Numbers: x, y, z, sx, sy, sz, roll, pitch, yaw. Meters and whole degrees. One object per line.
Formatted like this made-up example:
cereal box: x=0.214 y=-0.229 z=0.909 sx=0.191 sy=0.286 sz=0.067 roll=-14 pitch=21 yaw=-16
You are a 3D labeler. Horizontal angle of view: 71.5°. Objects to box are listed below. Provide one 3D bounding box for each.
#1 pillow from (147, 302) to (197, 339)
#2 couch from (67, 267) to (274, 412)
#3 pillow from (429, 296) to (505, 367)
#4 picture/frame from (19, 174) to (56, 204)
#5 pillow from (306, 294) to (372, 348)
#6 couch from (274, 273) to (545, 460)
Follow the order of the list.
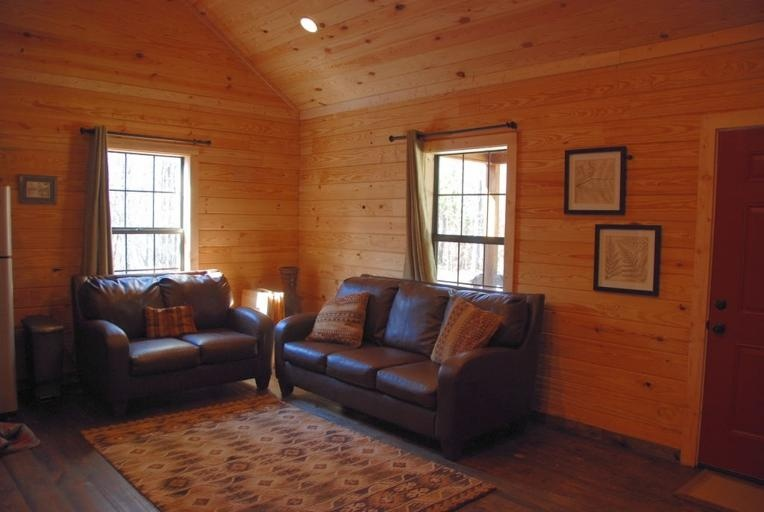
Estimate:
pillow: x=-2.030 y=0.654 z=5.192 sx=0.575 sy=0.265 sz=0.149 roll=-3 pitch=-5 yaw=-40
couch: x=-2.062 y=0.757 z=5.271 sx=1.577 sy=0.914 sz=1.080 roll=-3 pitch=16 yaw=-45
pillow: x=0.680 y=0.649 z=4.434 sx=0.191 sy=0.522 sz=0.606 roll=40 pitch=-12 yaw=-24
picture/frame: x=-3.395 y=-0.658 z=5.237 sx=0.415 sy=0.307 sz=0.039 roll=-1 pitch=1 yaw=-32
pillow: x=-0.359 y=0.623 z=5.206 sx=0.749 sy=0.531 sz=0.195 roll=-11 pitch=-35 yaw=35
couch: x=0.146 y=0.863 z=5.013 sx=1.234 sy=0.958 sz=2.472 roll=-15 pitch=13 yaw=-40
